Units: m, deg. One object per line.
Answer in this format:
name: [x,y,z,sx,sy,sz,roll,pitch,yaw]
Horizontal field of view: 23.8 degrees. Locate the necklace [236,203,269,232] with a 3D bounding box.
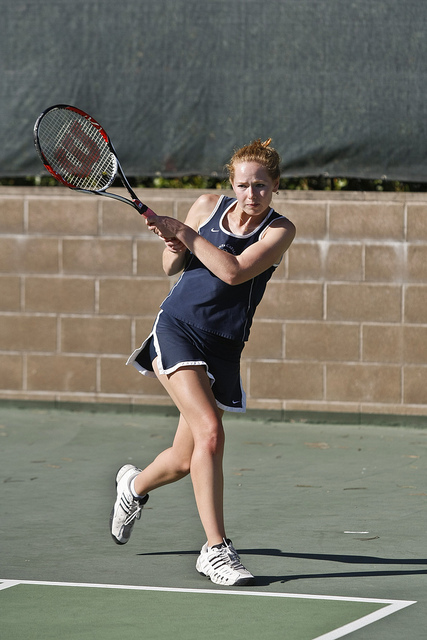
necklace: [0.157,-0.406,4.140,0.115,0.098,0.029,4,-16,-4]

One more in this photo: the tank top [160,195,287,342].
tank top: [0.036,-0.203,4.192,0.469,0.590,0.272,4,6,-3]
